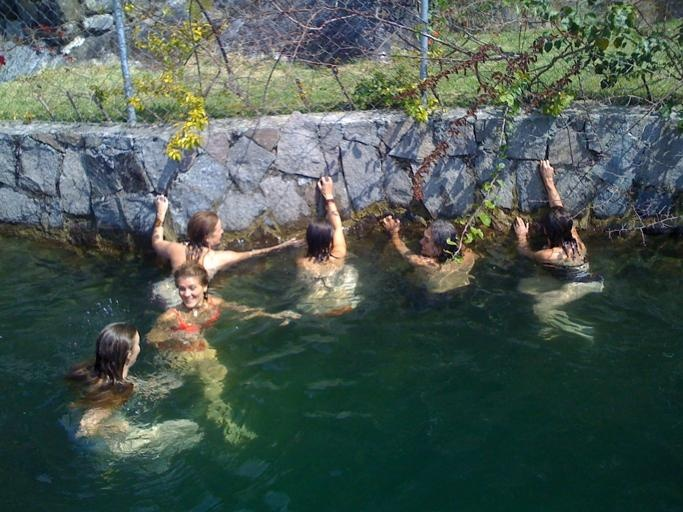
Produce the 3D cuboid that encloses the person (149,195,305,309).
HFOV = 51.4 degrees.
[{"bbox_3d":[-1.680,-0.025,9.863,1.398,2.147,0.508,19,66,-15],"label":"person"}]

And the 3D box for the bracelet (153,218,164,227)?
[{"bbox_3d":[-2.616,-0.477,10.116,0.093,0.120,0.036,-5,42,-12],"label":"bracelet"}]

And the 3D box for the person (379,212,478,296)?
[{"bbox_3d":[1.162,0.064,9.956,1.198,1.791,0.839,10,59,13],"label":"person"}]

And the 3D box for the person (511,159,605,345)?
[{"bbox_3d":[3.015,0.167,9.840,0.984,1.390,2.509,-15,53,5],"label":"person"}]
